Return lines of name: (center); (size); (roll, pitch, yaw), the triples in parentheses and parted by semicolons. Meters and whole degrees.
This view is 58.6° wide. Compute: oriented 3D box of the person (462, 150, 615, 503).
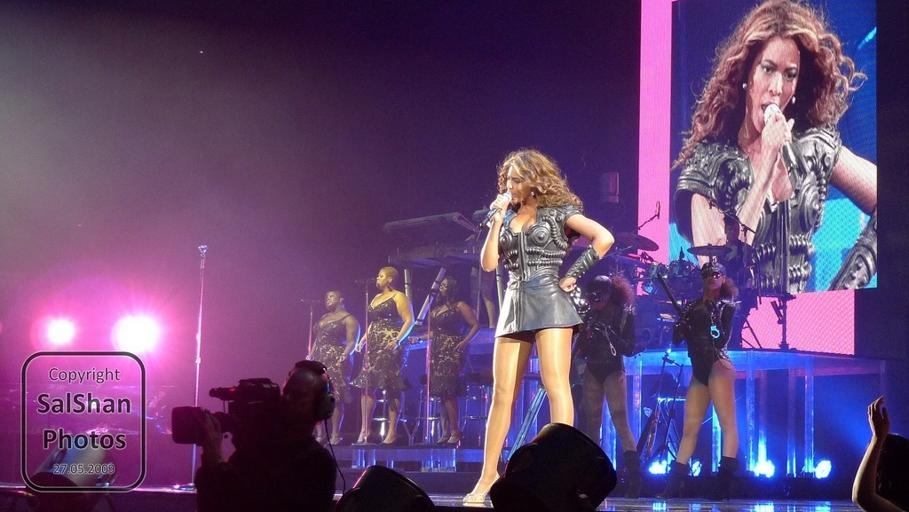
person: (0.929, 0.672, 9.020); (1.619, 3.950, 0.843); (-5, -17, 11)

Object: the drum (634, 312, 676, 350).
drum: (3.223, 1.206, 13.040); (0.753, 0.675, 0.562); (-2, -13, 19)

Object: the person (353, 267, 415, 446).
person: (-1.175, 1.638, 13.768); (0.993, 2.985, 0.795); (-5, -10, 28)

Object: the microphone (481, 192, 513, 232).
microphone: (0.483, -0.568, 9.193); (0.165, 0.617, 0.191); (37, 21, 30)

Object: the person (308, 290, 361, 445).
person: (-2.204, 1.691, 14.374); (0.989, 3.086, 0.952); (1, -1, 12)

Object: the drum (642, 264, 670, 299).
drum: (3.234, 0.301, 13.144); (0.418, 0.645, 0.234); (-5, 30, 32)

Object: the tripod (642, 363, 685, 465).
tripod: (3.196, 2.415, 12.533); (0.629, 1.941, 0.647); (2, 0, -34)

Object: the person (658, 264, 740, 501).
person: (3.547, 1.657, 11.218); (0.895, 3.227, 1.027); (4, -1, -11)

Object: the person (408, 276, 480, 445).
person: (-0.210, 1.695, 13.506); (0.870, 2.517, 1.069); (2, 0, -19)

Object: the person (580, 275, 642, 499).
person: (2.188, 1.745, 11.598); (0.770, 2.895, 1.042); (2, 1, 11)

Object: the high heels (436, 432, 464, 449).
high heels: (-0.104, 2.922, 12.898); (0.156, 0.189, 0.471); (-13, -24, 39)

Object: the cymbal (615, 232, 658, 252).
cymbal: (3.100, -0.266, 13.733); (0.732, 0.311, 0.631); (-5, -17, 9)

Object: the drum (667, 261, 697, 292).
drum: (3.670, 0.352, 13.157); (0.470, 0.368, 0.517); (0, -17, 0)
